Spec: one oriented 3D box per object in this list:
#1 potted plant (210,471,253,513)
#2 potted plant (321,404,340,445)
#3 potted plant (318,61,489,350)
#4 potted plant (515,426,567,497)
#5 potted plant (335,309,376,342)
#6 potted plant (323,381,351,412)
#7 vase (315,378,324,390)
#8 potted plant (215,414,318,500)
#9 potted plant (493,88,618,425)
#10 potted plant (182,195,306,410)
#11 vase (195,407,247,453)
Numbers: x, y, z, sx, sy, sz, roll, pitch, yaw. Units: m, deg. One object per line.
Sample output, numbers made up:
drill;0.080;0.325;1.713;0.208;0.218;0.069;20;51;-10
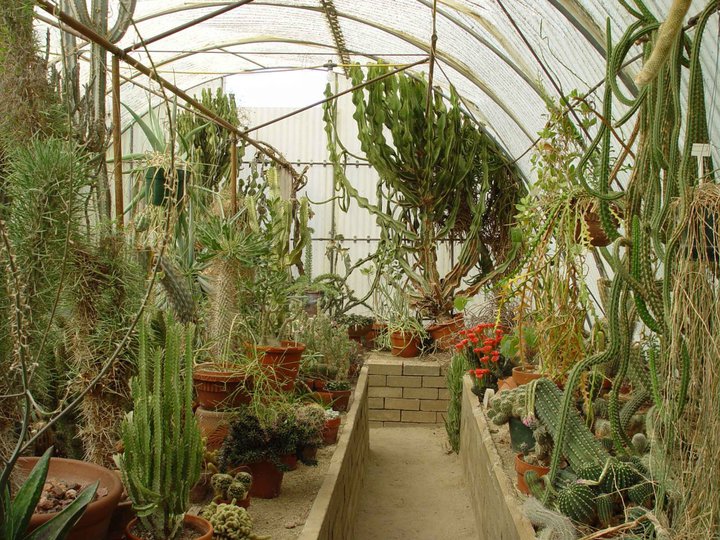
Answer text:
potted plant;-0.612;1.011;3.342;0.143;0.231;0.187;-4;-1;19
potted plant;-0.188;1.000;4.467;0.118;0.148;0.152;0;-6;-6
potted plant;0.563;-0.791;7.665;1.668;3.216;3.159;0;-7;11
potted plant;0.833;0.890;3.281;0.206;0.403;0.240;0;0;17
potted plant;-0.027;0.664;8.220;0.289;0.292;0.350;1;-7;-3
potted plant;-0.176;0.964;5.386;0.161;0.222;0.190;-1;2;9
vase;-0.320;0.896;5.490;0.062;0.066;0.073;1;1;0
potted plant;-0.477;0.837;3.642;0.331;0.420;0.494;-2;-4;24
potted plant;1.053;-0.090;3.791;0.531;1.768;0.977;-1;-6;17
potted plant;-0.736;0.117;4.645;0.628;1.495;1.958;2;-7;-9
vase;-0.737;0.820;3.699;0.188;0.261;0.218;4;-4;-24
